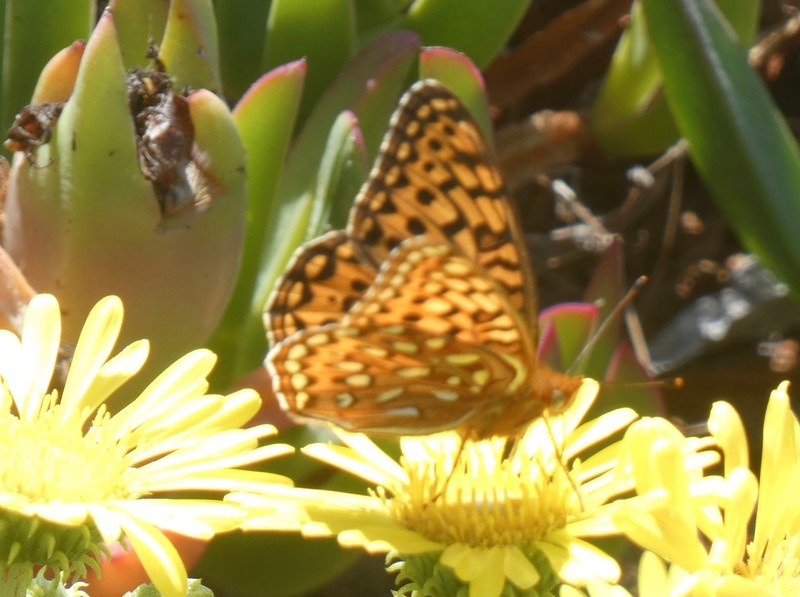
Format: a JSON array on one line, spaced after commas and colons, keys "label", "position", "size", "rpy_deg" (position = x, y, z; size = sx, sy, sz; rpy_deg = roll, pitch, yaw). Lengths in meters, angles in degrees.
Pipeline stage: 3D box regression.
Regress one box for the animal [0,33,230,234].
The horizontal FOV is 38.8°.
[{"label": "animal", "position": [-0.424, -0.220, 1.696], "size": [0.195, 0.288, 0.257], "rpy_deg": [1, 11, -43]}]
